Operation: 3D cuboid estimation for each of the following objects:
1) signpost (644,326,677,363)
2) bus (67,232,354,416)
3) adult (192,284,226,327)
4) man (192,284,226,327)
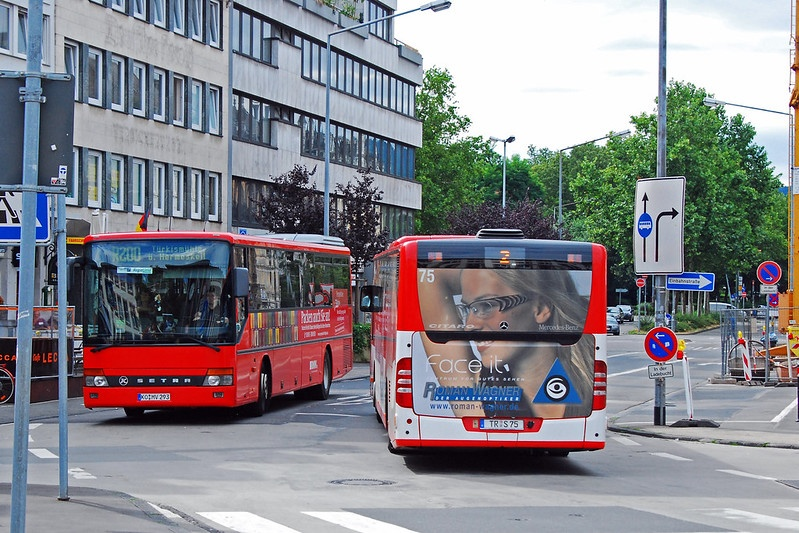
[{"bbox_3d":[5.243,1.565,22.101,0.588,0.706,0.631,-2,-3,14],"label":"signpost"},{"bbox_3d":[-3.180,1.144,26.077,3.427,4.358,10.083,-3,-4,21],"label":"bus"},{"bbox_3d":[-3.706,0.772,21.846,0.612,0.705,0.239,4,9,1],"label":"adult"},{"bbox_3d":[-3.708,0.803,21.663,0.612,0.705,0.239,4,9,1],"label":"man"}]
